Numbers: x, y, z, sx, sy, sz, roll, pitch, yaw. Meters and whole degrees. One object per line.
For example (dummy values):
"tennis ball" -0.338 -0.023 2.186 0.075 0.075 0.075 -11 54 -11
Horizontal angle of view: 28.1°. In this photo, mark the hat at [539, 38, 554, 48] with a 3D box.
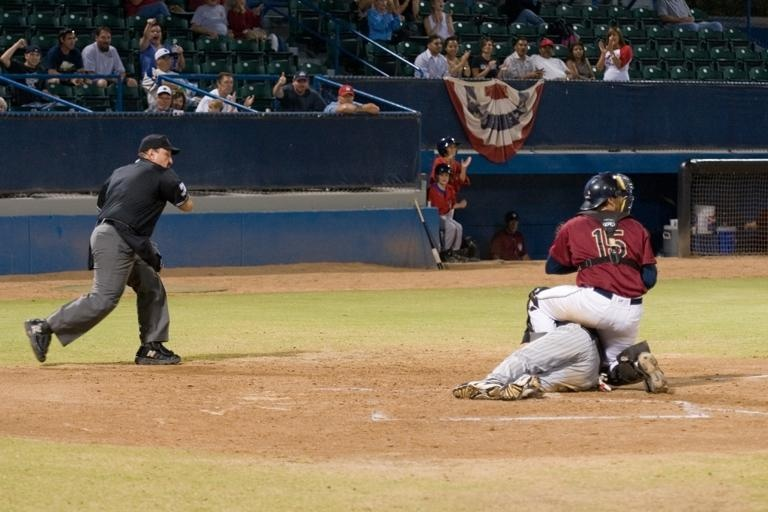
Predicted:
"hat" 3.286 -4.275 30.625 0.267 0.153 0.309 1 -6 0

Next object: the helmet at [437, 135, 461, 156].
"helmet" 1.149 -2.094 29.064 0.504 0.359 0.349 -18 7 -7

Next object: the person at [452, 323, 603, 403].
"person" 1.887 1.261 18.675 1.055 0.511 1.556 10 19 44

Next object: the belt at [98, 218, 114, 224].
"belt" -3.608 -0.454 19.876 0.111 0.101 0.131 3 21 -36

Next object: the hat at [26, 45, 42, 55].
"hat" -6.223 -3.645 27.205 0.239 0.132 0.288 9 -2 -24
